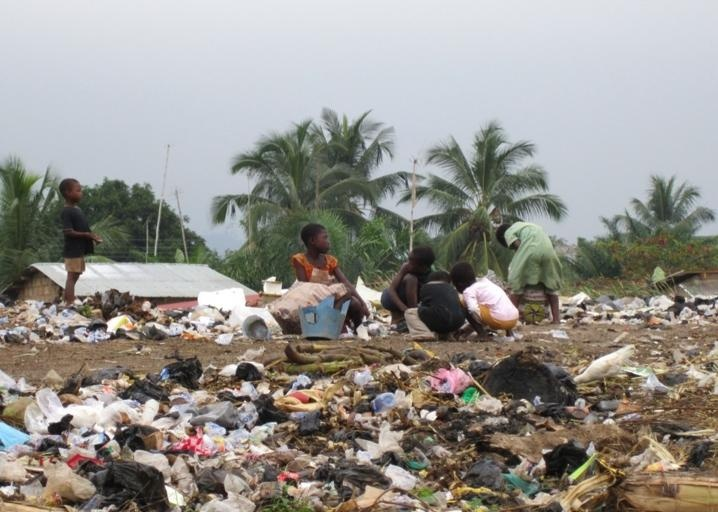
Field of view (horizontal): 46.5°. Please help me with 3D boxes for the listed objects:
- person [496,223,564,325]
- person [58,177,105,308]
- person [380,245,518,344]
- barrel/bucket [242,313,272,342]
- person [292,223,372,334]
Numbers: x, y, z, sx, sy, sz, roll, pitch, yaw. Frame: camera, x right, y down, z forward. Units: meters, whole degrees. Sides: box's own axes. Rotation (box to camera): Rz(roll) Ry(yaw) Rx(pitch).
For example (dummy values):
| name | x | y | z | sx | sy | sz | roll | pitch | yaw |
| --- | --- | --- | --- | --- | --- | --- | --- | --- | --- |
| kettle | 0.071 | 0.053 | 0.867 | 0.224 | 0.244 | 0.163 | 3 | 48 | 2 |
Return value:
| name | x | y | z | sx | sy | sz | roll | pitch | yaw |
| --- | --- | --- | --- | --- | --- | --- | --- | --- | --- |
| person | 1.837 | 0.130 | 9.259 | 0.763 | 1.260 | 0.627 | -11 | -23 | 37 |
| person | -3.024 | -0.151 | 9.056 | 0.425 | 1.317 | 0.682 | 0 | -4 | -19 |
| person | 0.850 | 0.358 | 7.695 | 0.700 | 0.553 | 0.895 | -6 | 7 | -30 |
| barrel/bucket | -0.964 | 0.686 | 8.097 | 0.224 | 0.246 | 0.187 | -2 | -23 | 39 |
| person | -0.273 | 0.185 | 7.912 | 0.656 | 1.032 | 0.658 | -2 | -4 | 18 |
